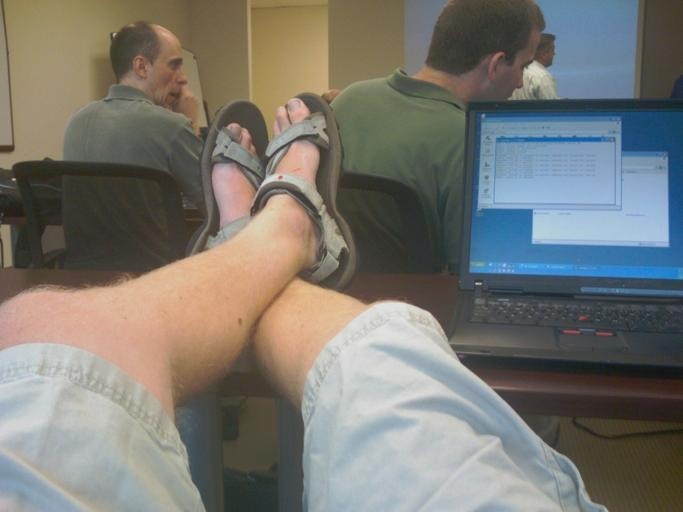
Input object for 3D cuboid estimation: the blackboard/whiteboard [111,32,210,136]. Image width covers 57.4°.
[{"bbox_3d":[-1.487,-1.318,4.871,0.624,0.607,0.845,-8,22,-32],"label":"blackboard/whiteboard"}]
